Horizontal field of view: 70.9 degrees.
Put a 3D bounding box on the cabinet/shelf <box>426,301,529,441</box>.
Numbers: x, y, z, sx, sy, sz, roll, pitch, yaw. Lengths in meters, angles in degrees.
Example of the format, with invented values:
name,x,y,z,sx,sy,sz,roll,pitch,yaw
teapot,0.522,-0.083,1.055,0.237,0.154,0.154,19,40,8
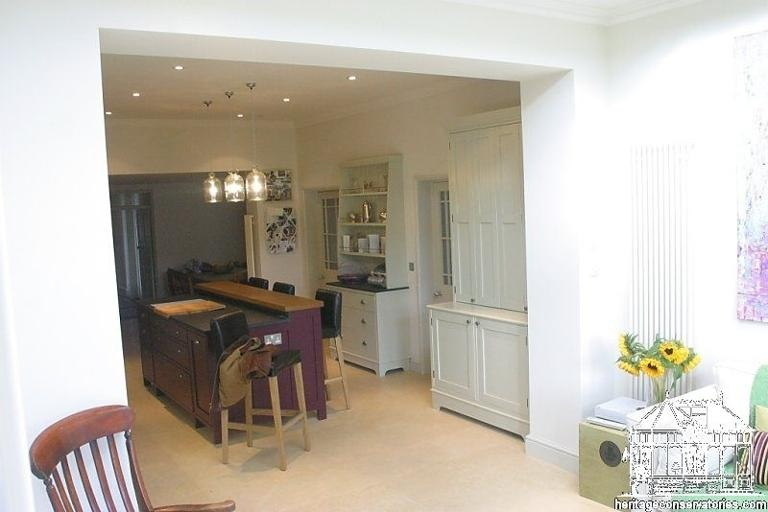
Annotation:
name,x,y,z,sx,sy,sz,roll,pitch,yaw
cabinet/shelf,1.019,1.218,5.669,0.596,1.209,1.494,0,1,-40

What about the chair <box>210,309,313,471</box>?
name,x,y,z,sx,sy,sz,roll,pitch,yaw
chair,-1.225,1.261,5.361,0.919,1.393,0.767,0,10,19

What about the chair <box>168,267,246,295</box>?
name,x,y,z,sx,sy,sz,roll,pitch,yaw
chair,-3.677,0.360,10.823,1.051,0.510,0.750,-2,7,-36

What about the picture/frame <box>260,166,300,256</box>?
name,x,y,z,sx,sy,sz,roll,pitch,yaw
picture/frame,-1.817,-0.750,9.327,0.629,1.440,0.308,-6,10,-18

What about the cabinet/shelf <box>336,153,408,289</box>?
name,x,y,z,sx,sy,sz,roll,pitch,yaw
cabinet/shelf,-0.218,-0.512,7.916,0.619,1.828,1.404,-8,11,-27

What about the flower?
name,x,y,z,sx,sy,sz,roll,pitch,yaw
flower,2.198,0.884,4.536,0.676,0.628,0.572,-1,-5,4
